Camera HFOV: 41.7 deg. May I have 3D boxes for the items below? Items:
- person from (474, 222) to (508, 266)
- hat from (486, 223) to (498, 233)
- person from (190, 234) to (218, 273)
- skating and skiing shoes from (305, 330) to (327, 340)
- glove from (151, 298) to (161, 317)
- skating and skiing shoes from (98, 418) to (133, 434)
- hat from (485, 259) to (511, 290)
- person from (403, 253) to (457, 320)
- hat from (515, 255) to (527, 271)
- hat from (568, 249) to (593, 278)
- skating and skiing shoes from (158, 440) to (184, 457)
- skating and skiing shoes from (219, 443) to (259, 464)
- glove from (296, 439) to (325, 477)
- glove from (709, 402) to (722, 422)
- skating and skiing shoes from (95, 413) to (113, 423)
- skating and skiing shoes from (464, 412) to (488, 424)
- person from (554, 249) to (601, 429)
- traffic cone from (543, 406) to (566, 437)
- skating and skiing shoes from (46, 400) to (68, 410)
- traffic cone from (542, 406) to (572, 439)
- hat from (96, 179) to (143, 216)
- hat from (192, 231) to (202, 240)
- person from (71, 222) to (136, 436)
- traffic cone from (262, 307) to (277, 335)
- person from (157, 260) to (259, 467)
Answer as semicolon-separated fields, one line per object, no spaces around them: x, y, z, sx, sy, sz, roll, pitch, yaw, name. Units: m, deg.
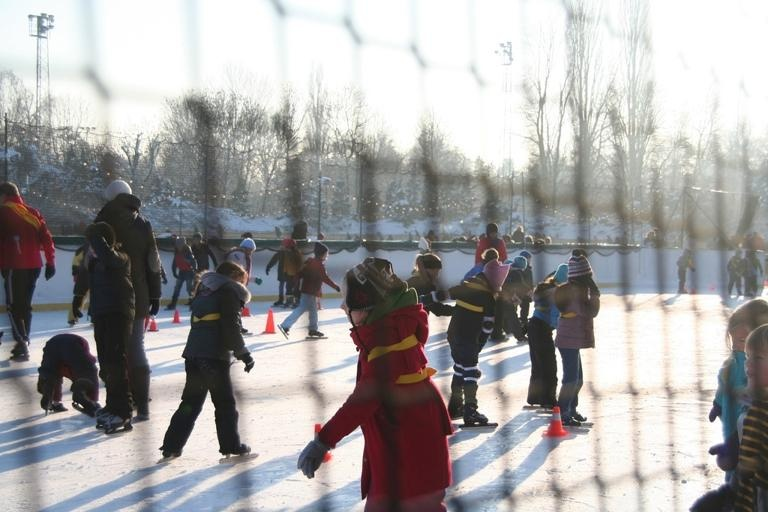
2.086;-0.193;19.243;0.642;1.064;0.330;-6;45;0;person
2.010;-0.513;18.590;0.166;0.174;0.172;8;11;42;hat
-4.116;-0.045;22.845;0.603;1.102;0.390;-10;14;-4;person
-1.300;1.519;19.378;0.400;0.217;0.142;-2;4;-8;skating and skiing shoes
-3.143;0.703;13.927;0.168;0.213;0.196;1;-12;2;glove
-3.647;2.274;13.627;0.310;0.114;0.240;0;6;-28;skating and skiing shoes
1.586;0.270;14.342;0.372;0.429;0.334;-1;-2;23;hat
0.627;0.372;14.736;0.842;1.380;0.597;0;8;16;person
2.276;0.114;16.970;0.218;0.202;0.542;-3;1;6;hat
2.822;0.120;14.424;0.320;0.408;0.407;0;11;17;hat
-2.746;2.505;13.013;0.212;0.249;0.242;1;2;38;skating and skiing shoes
-1.887;2.539;13.040;0.396;0.175;0.226;-3;9;-31;skating and skiing shoes
-0.780;2.253;11.232;0.342;0.425;0.185;-3;1;-6;glove
3.937;1.890;12.020;0.190;0.282;0.094;-3;16;2;glove
-3.776;2.193;13.583;0.190;0.088;0.105;-3;8;-27;skating and skiing shoes
1.294;2.274;14.098;0.337;0.179;0.097;-4;1;1;skating and skiing shoes
2.719;1.135;14.210;0.592;2.132;0.733;-2;1;37;person
2.304;2.287;13.859;0.325;0.401;0.360;0;-10;3;traffic cone
-4.653;2.134;14.366;0.280;0.150;0.101;0;2;-23;skating and skiing shoes
2.404;2.306;13.955;0.338;0.417;0.377;-2;-9;17;traffic cone
-3.639;-0.851;13.930;0.428;0.613;0.571;-2;20;-18;hat
-4.446;-0.469;24.022;0.205;0.225;0.269;5;7;-8;hat
-3.663;0.964;13.597;0.620;2.906;0.376;-3;1;-15;person
-2.265;1.317;20.162;0.399;0.612;0.419;-2;2;-6;traffic cone
-2.266;1.375;13.090;1.133;2.522;0.444;-3;1;-10;person
